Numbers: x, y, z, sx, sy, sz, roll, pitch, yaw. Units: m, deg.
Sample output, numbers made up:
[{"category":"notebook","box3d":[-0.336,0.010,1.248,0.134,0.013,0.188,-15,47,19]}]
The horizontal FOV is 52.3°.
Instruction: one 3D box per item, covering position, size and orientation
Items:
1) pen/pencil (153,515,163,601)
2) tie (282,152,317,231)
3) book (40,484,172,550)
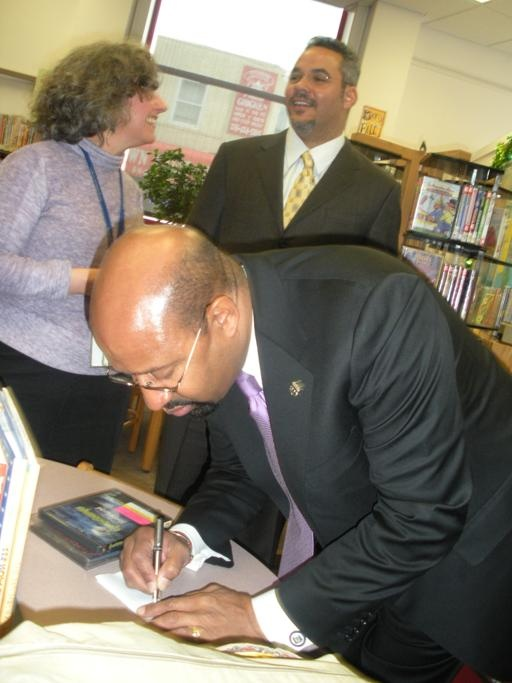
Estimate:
[{"category":"pen/pencil","box3d":[-0.161,0.371,0.884,0.017,0.113,0.020,-3,-11,4]},{"category":"tie","box3d":[0.176,-0.533,1.874,0.095,0.297,0.043,9,-24,24]},{"category":"book","box3d":[-0.303,0.349,1.015,0.200,0.034,0.197,19,11,43]}]
